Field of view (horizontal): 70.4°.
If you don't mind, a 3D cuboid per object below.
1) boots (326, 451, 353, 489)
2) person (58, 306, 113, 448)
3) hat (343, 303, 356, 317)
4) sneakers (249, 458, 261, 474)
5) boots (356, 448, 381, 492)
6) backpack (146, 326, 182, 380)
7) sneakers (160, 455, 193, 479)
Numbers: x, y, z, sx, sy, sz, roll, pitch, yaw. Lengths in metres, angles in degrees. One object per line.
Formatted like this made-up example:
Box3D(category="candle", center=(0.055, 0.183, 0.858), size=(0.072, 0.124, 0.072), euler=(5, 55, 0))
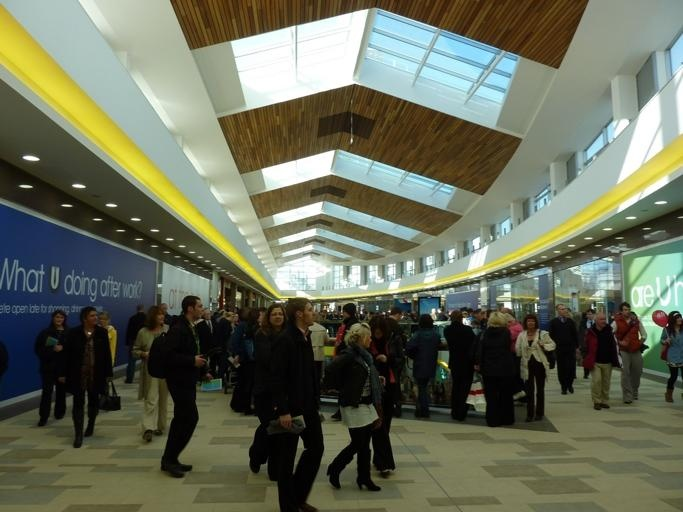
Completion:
Box3D(category="boots", center=(-0.039, 2.434, 5.631), size=(0.268, 0.460, 0.434), euler=(2, -9, -11))
Box3D(category="person", center=(-3.739, 1.746, 7.183), size=(0.656, 1.960, 0.497), euler=(8, -12, -41))
Box3D(category="hat", center=(0.137, 0.936, 8.457), size=(0.207, 0.247, 0.256), euler=(6, 0, -8))
Box3D(category="sneakers", center=(-1.069, 2.569, 5.989), size=(0.123, 0.194, 0.288), euler=(2, -8, -11))
Box3D(category="boots", center=(0.307, 2.423, 5.590), size=(0.278, 0.469, 0.346), euler=(1, -9, -6))
Box3D(category="backpack", center=(-2.210, 1.194, 5.986), size=(0.226, 0.653, 0.424), euler=(8, -12, -42))
Box3D(category="sneakers", center=(-1.939, 2.545, 5.871), size=(0.456, 0.200, 0.149), euler=(-4, -8, 26))
